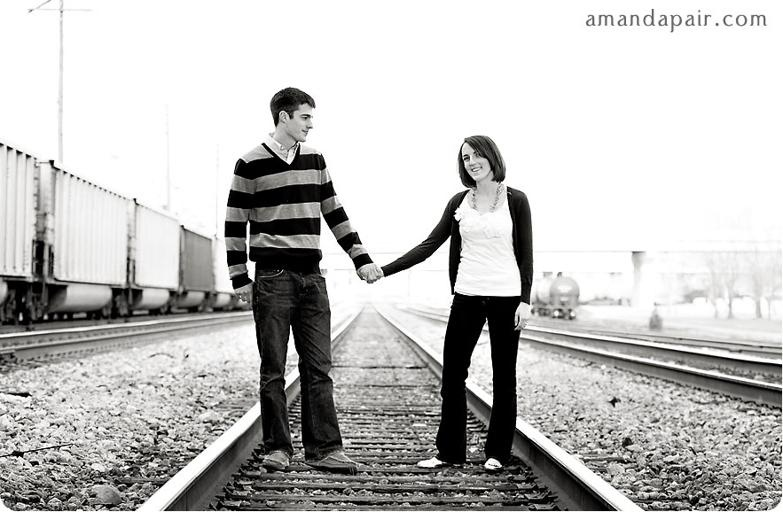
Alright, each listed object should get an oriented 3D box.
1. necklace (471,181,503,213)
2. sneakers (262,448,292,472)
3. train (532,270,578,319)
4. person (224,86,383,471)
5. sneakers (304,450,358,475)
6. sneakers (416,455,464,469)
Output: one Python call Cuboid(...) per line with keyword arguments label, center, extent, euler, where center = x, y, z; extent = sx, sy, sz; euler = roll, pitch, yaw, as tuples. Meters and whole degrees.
Cuboid(label="necklace", center=(0.965, -0.544, 6.086), extent=(0.214, 0.320, 0.078), euler=(1, 8, 23))
Cuboid(label="sneakers", center=(-1.057, 1.920, 5.962), extent=(0.256, 0.139, 0.148), euler=(2, -13, 12))
Cuboid(label="train", center=(9.716, 2.422, 38.165), extent=(1.349, 2.853, 3.655), euler=(1, 0, -13))
Cuboid(label="person", center=(-0.934, 0.233, 6.083), extent=(1.231, 3.280, 0.401), euler=(1, 0, -1))
Cuboid(label="sneakers", center=(-0.557, 1.932, 6.125), extent=(0.510, 0.252, 0.209), euler=(3, 2, 8))
Cuboid(label="sneakers", center=(0.470, 1.994, 6.269), extent=(0.436, 0.208, 0.162), euler=(6, -14, -5))
